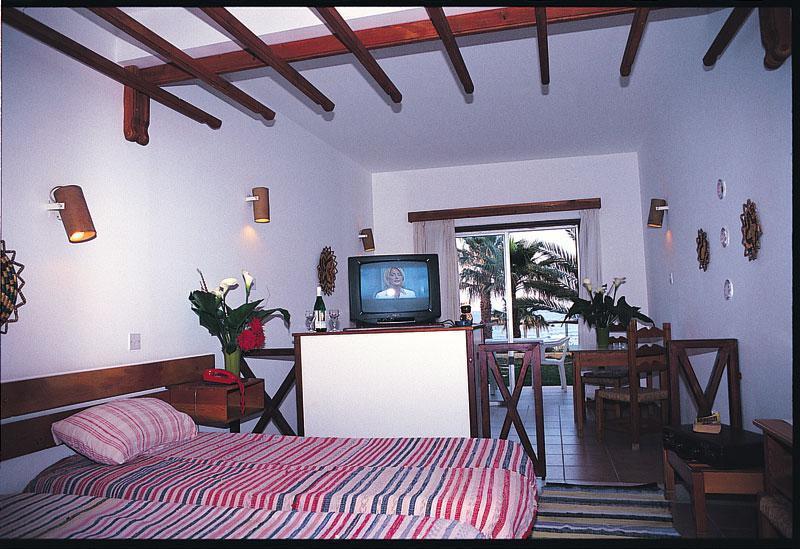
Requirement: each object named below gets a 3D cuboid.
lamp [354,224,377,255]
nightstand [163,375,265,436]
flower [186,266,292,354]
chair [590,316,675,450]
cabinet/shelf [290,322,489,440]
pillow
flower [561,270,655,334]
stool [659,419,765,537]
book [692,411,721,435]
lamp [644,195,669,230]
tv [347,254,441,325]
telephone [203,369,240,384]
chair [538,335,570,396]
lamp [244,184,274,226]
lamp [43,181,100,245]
[{"bbox_3d":[-0.465,-0.498,7.821,0.195,0.352,0.527,-2,2,9],"label":"lamp"},{"bbox_3d":[-1.458,0.982,4.208,0.449,0.602,0.663,0,1,10],"label":"nightstand"},{"bbox_3d":[-1.320,0.237,4.636,0.751,0.733,0.731,5,5,7],"label":"flower"},{"bbox_3d":[2.395,1.076,5.515,0.691,1.233,2.302,-1,2,25],"label":"chair"},{"bbox_3d":[-0.053,0.501,4.428,1.507,1.094,0.866,-1,-2,14],"label":"cabinet/shelf"},{"bbox_3d":[-1.769,0.966,3.373,0.423,0.134,0.439,18,4,5],"label":"pillow"},{"bbox_3d":[2.290,0.392,6.004,0.913,0.520,0.914,-1,-5,12],"label":"flower"},{"bbox_3d":[2.002,1.205,3.615,0.596,0.619,0.852,-1,-4,13],"label":"stool"},{"bbox_3d":[2.080,0.992,3.627,0.137,0.105,0.150,-2,-3,36],"label":"book"},{"bbox_3d":[2.931,-0.706,6.097,0.183,0.331,0.368,-2,2,19],"label":"lamp"},{"bbox_3d":[-0.045,0.181,5.072,1.104,0.885,0.591,-1,-8,4],"label":"tv"},{"bbox_3d":[-1.414,0.808,4.235,0.232,0.088,0.126,2,-10,6],"label":"telephone"},{"bbox_3d":[2.221,1.272,7.633,0.691,0.925,0.773,0,-4,15],"label":"chair"},{"bbox_3d":[-1.354,-0.682,5.275,0.210,0.352,0.338,-2,2,16],"label":"lamp"},{"bbox_3d":[-2.140,-0.397,3.488,0.228,0.387,0.270,0,3,40],"label":"lamp"}]
